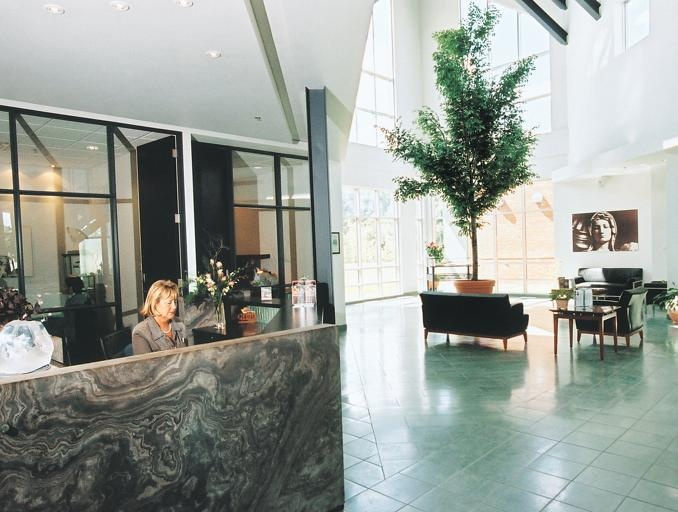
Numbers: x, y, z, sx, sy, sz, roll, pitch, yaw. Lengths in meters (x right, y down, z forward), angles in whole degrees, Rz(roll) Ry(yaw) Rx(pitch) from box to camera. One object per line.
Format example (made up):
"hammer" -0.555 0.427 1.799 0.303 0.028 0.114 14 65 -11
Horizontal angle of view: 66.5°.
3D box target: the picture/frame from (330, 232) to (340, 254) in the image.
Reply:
"picture/frame" -0.030 -0.252 10.808 0.131 0.454 0.243 2 7 34

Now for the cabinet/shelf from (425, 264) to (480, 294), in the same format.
"cabinet/shelf" 3.026 0.571 13.812 0.883 0.845 0.308 -2 4 -34

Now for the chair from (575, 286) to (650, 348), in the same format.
"chair" 4.539 0.998 8.648 1.040 1.034 1.054 0 0 38

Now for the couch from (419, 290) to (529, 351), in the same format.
"couch" 2.344 1.076 9.067 0.826 0.881 1.694 -5 2 -42

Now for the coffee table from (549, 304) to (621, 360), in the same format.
"coffee table" 4.000 1.139 8.359 0.906 0.785 0.914 -2 -4 31

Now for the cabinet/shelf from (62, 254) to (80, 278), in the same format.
"cabinet/shelf" -3.701 0.121 7.147 0.256 0.386 0.258 -4 -5 39

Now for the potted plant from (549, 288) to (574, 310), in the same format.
"potted plant" 3.748 0.713 8.668 0.330 0.361 0.357 -2 -1 22

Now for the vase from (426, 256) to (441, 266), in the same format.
"vase" 2.761 0.078 14.944 0.450 0.310 0.245 0 -2 -21
